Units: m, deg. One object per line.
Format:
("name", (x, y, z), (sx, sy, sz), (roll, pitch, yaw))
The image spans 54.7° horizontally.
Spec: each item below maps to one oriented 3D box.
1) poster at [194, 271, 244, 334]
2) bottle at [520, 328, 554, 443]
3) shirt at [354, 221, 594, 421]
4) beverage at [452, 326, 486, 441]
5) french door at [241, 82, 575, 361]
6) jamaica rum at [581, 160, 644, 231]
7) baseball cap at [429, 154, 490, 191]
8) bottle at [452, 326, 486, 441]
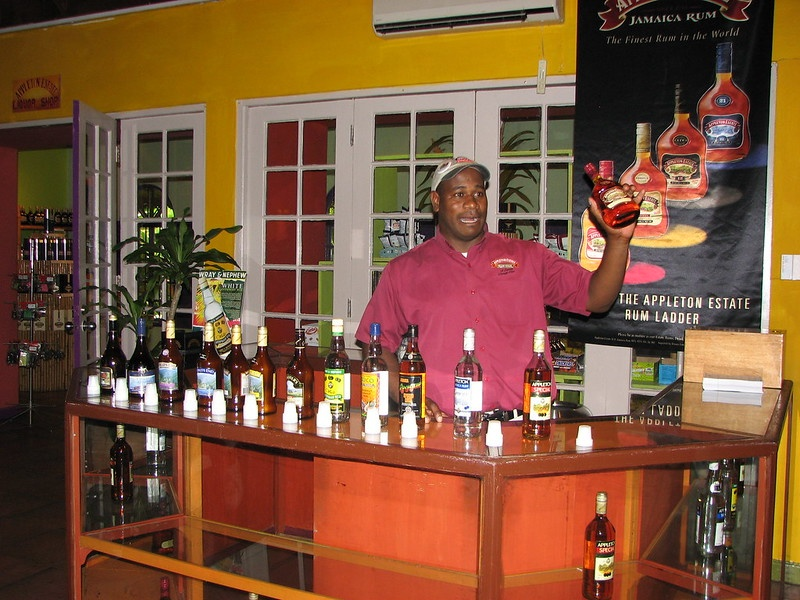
("poster", (-0.962, 0.007, 4.133), (0.357, 0.374, 0.121), (2, 5, 13))
("bottle", (0.508, 0.346, 2.849), (0.102, 0.310, 0.178), (1, 4, 9))
("shirt", (0.385, 0.123, 3.453), (1.066, 0.832, 0.381), (-2, -7, 4))
("beverage", (0.252, 0.299, 2.830), (0.101, 0.395, 0.166), (1, 4, 5))
("french door", (0.073, -0.520, 4.482), (1.763, 1.600, 0.182), (1, 1, 13))
("jamaica rum", (0.836, -0.362, 2.993), (0.165, 0.183, 0.086), (2, 4, 13))
("baseball cap", (0.263, -0.541, 3.353), (0.248, 0.149, 0.168), (1, 4, 3))
("bottle", (0.252, 0.299, 2.830), (0.101, 0.395, 0.166), (1, 4, 5))
